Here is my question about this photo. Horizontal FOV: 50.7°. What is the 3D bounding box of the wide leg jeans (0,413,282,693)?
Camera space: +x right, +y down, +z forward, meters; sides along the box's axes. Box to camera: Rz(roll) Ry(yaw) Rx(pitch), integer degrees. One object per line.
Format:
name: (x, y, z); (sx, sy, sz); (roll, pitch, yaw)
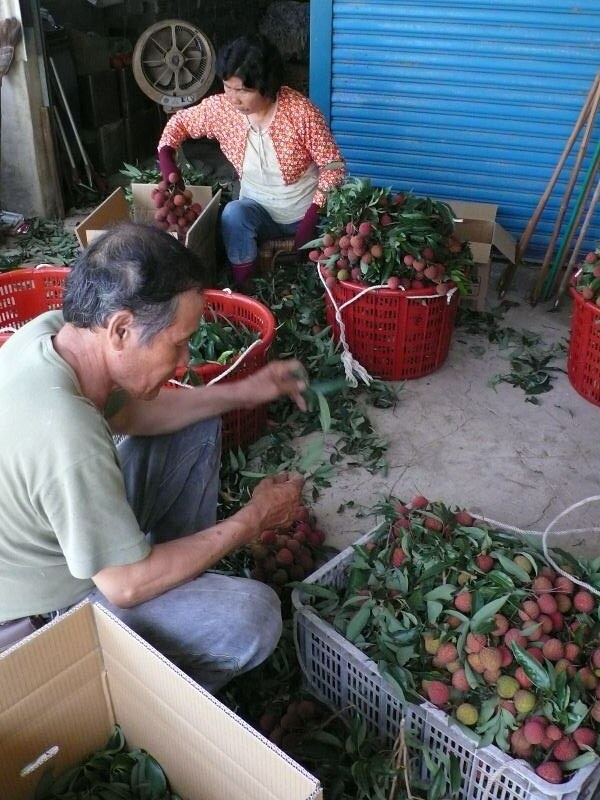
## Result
wide leg jeans: (-0.263, 0.313, 1.548); (0.623, 0.567, 0.183); (10, -8, -13)

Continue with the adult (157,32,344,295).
adult: (-0.312, -1.250, 3.488); (1.084, 1.373, 0.804); (-8, 40, -9)

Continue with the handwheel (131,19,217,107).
handwheel: (-0.997, -2.608, 4.855); (0.635, 0.654, 0.319); (-18, 46, -24)

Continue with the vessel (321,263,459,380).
vessel: (0.369, -0.336, 2.967); (0.611, 0.415, 0.558); (-14, 34, -23)

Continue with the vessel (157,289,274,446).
vessel: (-0.225, -0.199, 2.454); (0.606, 0.416, 0.572); (0, 40, 2)

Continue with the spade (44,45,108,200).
spade: (-1.979, -2.376, 5.509); (0.355, 1.037, 1.089); (-8, -8, -3)

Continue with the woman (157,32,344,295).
woman: (-0.273, -1.254, 3.506); (1.048, 1.376, 0.813); (-2, 37, -3)

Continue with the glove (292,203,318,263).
glove: (0.033, -0.932, 3.398); (0.067, 0.210, 0.163); (22, -3, -28)

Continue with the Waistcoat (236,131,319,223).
Waistcoat: (-0.122, -1.224, 3.405); (0.373, 0.352, 0.222); (29, 61, 22)

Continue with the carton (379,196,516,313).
carton: (0.777, -0.831, 3.702); (0.825, 0.579, 0.849); (-6, 28, 11)
